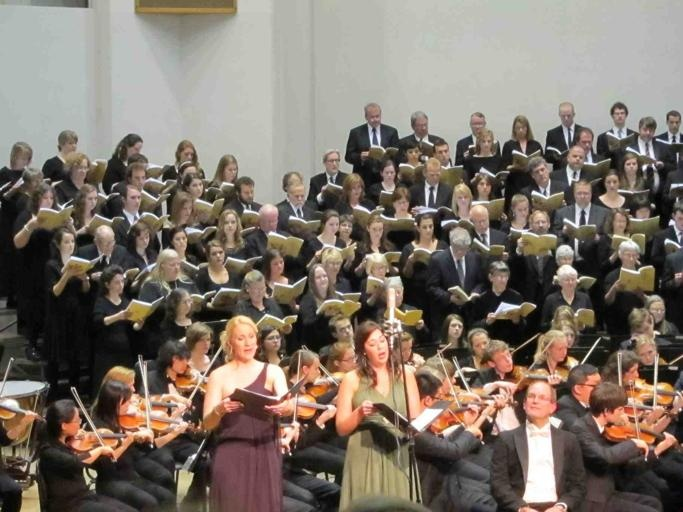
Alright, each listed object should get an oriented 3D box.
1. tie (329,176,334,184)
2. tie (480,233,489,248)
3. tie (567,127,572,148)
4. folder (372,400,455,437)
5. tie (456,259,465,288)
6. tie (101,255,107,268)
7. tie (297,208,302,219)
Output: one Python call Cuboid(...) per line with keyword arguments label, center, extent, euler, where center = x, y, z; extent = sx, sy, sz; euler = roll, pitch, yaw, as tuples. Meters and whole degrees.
Cuboid(label="tie", center=(-0.135, -0.992, 10.854), extent=(0.058, 0.119, 0.067), euler=(2, -1, -10))
Cuboid(label="tie", center=(1.669, -0.183, 9.542), extent=(0.058, 0.241, 0.053), euler=(-11, -28, 39))
Cuboid(label="tie", center=(3.233, -1.651, 11.635), extent=(0.098, 0.441, 0.021), euler=(0, -21, 17))
Cuboid(label="folder", center=(0.450, 1.083, 5.524), extent=(0.323, 0.246, 0.714), euler=(-1, -3, 29))
Cuboid(label="tie", center=(1.355, 0.187, 9.277), extent=(0.083, 0.293, 0.030), euler=(0, -2, 9))
Cuboid(label="tie", center=(-2.456, 0.065, 8.447), extent=(0.074, 0.121, 0.026), euler=(-2, -2, -17))
Cuboid(label="tie", center=(-0.512, -0.503, 10.038), extent=(0.052, 0.109, 0.024), euler=(-14, -3, -8))
